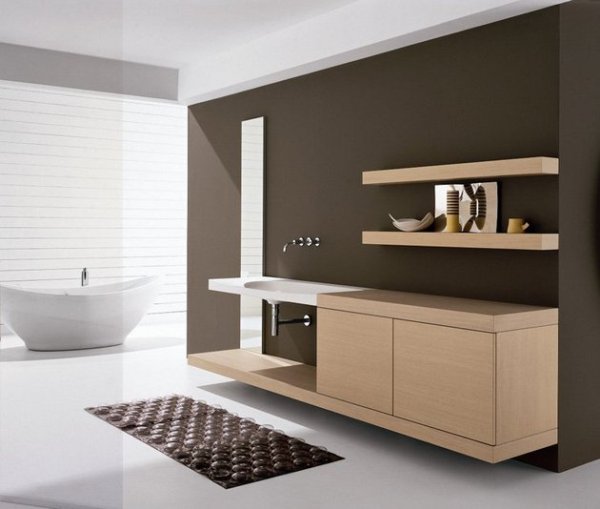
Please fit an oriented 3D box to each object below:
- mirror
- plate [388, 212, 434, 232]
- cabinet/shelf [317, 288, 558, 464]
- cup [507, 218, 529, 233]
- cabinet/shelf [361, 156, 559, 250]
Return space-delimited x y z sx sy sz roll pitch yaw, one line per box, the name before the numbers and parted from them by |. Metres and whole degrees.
mirror | -0.498 -0.223 4.995 0.127 2.354 0.430 0 1 -39
plate | 0.799 -0.206 3.361 0.196 0.087 0.142 15 4 44
cabinet/shelf | 0.793 0.701 3.145 0.603 0.742 1.496 1 -2 -35
cup | 1.255 -0.166 2.781 0.099 0.085 0.146 1 1 37
cabinet/shelf | 0.935 -0.305 3.100 1.189 0.519 0.211 3 0 35
